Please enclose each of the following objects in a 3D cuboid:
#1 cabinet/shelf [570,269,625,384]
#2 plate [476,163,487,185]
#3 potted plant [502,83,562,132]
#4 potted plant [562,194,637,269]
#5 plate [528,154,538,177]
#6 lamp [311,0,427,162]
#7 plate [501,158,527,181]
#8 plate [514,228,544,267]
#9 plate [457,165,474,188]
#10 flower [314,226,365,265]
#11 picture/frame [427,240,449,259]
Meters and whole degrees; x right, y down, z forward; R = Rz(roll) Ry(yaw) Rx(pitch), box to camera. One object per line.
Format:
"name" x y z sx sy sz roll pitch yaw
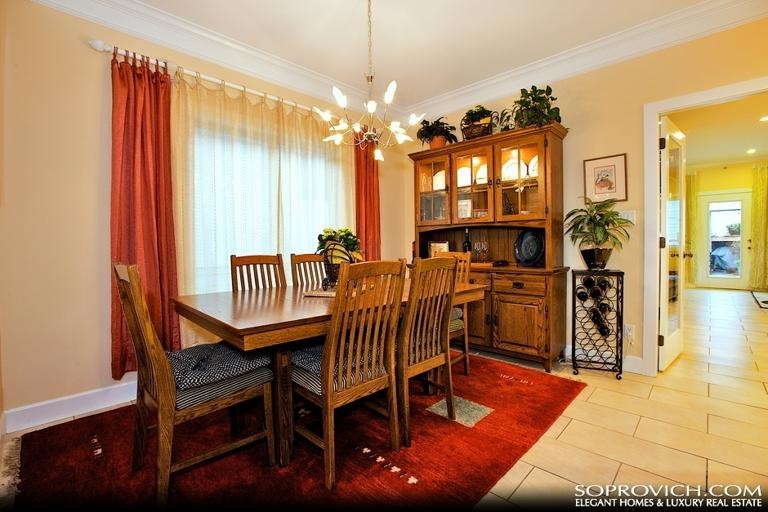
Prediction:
"cabinet/shelf" 2.149 0.654 5.019 0.490 1.052 0.451 -1 5 24
"plate" 1.067 -0.894 5.419 0.042 0.174 0.176 0 -9 -25
"potted plant" 1.515 -1.493 5.240 0.658 0.292 0.555 -7 13 -28
"potted plant" 2.132 -0.225 5.008 0.676 0.698 0.438 0 5 30
"plate" 1.529 -0.923 5.097 0.030 0.209 0.120 -7 6 -44
"lamp" -0.134 -1.799 5.492 1.399 1.805 1.404 5 8 26
"plate" 1.362 -0.907 5.202 0.266 0.223 0.019 0 5 29
"plate" 1.537 -0.094 5.253 0.086 0.355 0.360 16 -30 -38
"plate" 0.898 -0.878 5.529 0.045 0.191 0.194 -5 8 -40
"flower" -0.378 -0.111 4.443 0.374 0.268 0.366 13 13 6
"picture/frame" 0.614 -0.072 5.623 0.218 0.232 0.024 0 -8 25
